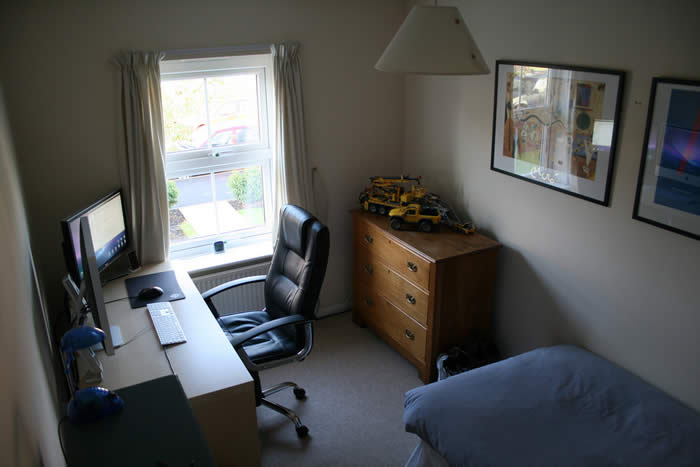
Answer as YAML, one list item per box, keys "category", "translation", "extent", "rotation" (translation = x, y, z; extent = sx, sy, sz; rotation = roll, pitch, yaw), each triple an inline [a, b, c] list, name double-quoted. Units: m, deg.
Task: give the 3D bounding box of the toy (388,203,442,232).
- category: "toy"
  translation: [0.594, -0.142, 4.276]
  extent: [0.406, 0.224, 0.243]
  rotation: [4, 28, 4]

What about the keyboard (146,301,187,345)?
- category: "keyboard"
  translation: [-1.325, 0.635, 3.421]
  extent: [0.157, 0.036, 0.490]
  rotation: [-6, 32, -36]

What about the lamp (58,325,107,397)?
- category: "lamp"
  translation: [-1.377, 0.645, 2.479]
  extent: [0.213, 0.331, 0.139]
  rotation: [-13, 20, -32]

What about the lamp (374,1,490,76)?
- category: "lamp"
  translation: [0.428, -0.998, 2.482]
  extent: [0.573, 0.360, 0.307]
  rotation: [2, 19, 16]

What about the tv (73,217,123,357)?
- category: "tv"
  translation: [-1.677, 0.357, 3.147]
  extent: [0.197, 0.641, 0.642]
  rotation: [-10, 57, -20]

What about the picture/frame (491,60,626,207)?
- category: "picture/frame"
  translation: [1.586, -0.764, 3.554]
  extent: [0.037, 0.908, 0.993]
  rotation: [-16, 29, -39]
